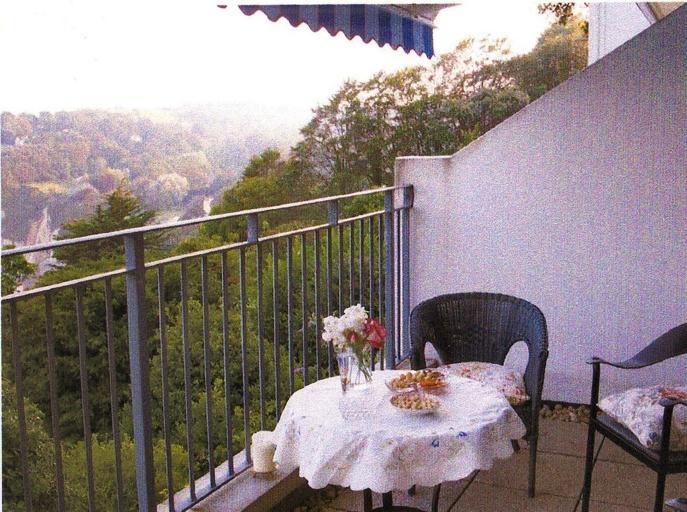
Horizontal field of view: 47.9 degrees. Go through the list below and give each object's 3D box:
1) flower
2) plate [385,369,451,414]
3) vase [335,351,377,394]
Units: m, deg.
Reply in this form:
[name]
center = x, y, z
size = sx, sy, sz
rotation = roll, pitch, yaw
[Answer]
[flower]
center = 0.070, 0.527, 5.203
size = 0.305, 0.643, 0.313
rotation = 7, 10, 26
[plate]
center = 0.502, 0.914, 5.334
size = 0.391, 0.265, 0.354
rotation = 11, 11, -26
[vase]
center = 0.059, 0.723, 5.216
size = 0.158, 0.327, 0.183
rotation = 5, 9, 25
